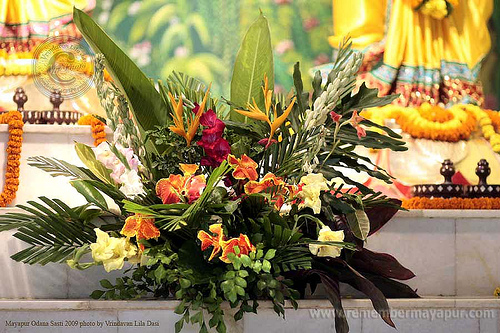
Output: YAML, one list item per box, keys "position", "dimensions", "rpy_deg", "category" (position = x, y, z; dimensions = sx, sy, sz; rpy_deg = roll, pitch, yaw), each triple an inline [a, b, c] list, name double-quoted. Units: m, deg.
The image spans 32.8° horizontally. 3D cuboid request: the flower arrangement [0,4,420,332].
- position: [-0.440, 0.135, 4.929]
  dimensions: [1.952, 1.279, 1.996]
  rpy_deg: [13, -20, -34]
  category: "flower arrangement"
